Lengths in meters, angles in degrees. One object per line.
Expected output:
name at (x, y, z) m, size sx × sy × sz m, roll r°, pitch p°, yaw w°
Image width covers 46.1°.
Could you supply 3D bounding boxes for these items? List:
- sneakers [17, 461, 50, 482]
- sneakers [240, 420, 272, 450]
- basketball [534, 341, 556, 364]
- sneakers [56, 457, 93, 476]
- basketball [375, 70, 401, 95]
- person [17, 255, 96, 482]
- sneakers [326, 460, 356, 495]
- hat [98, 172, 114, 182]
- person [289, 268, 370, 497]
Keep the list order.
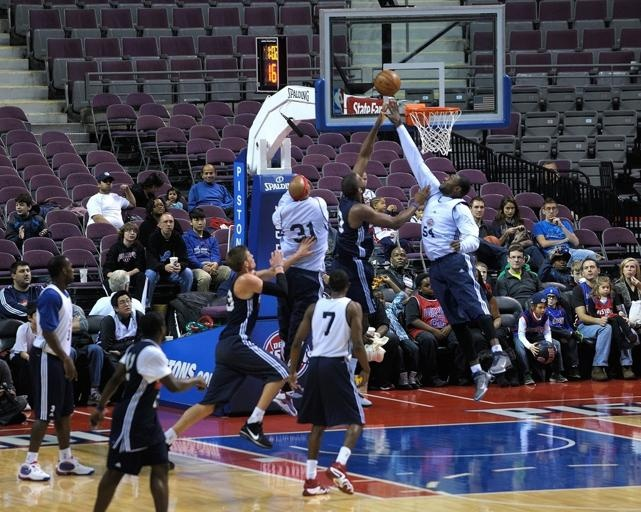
sneakers at (-2.394, 1.806, 6.335) m, size 0.319 × 0.139 × 0.117 m, roll -1°, pitch -4°, yaw 25°
sneakers at (-0.576, 1.592, 6.652) m, size 0.260 × 0.281 × 0.239 m, roll 0°, pitch 4°, yaw -7°
basketball at (3.076, 1.323, 10.298) m, size 0.295 × 0.291 × 0.286 m, roll 2°, pitch 2°, yaw -7°
sneakers at (-2.117, 1.818, 6.533) m, size 0.381 × 0.157 × 0.129 m, roll 3°, pitch 0°, yaw -4°
basketball at (0.759, -2.000, 8.675) m, size 0.264 × 0.312 × 0.300 m, roll 1°, pitch 4°, yaw 3°
person at (-2.260, 0.940, 6.380) m, size 0.587 × 1.885 × 0.462 m, roll -1°, pitch 5°, yaw -17°
sneakers at (0.152, 1.693, 5.729) m, size 0.190 × 0.254 × 0.155 m, roll 1°, pitch 4°, yaw 3°
hat at (-3.568, -1.330, 12.522) m, size 0.196 × 0.092 × 0.297 m, roll -1°, pitch -2°, yaw -18°
person at (0.073, 0.997, 6.099) m, size 0.623 × 1.761 × 1.019 m, roll 0°, pitch 4°, yaw -2°
